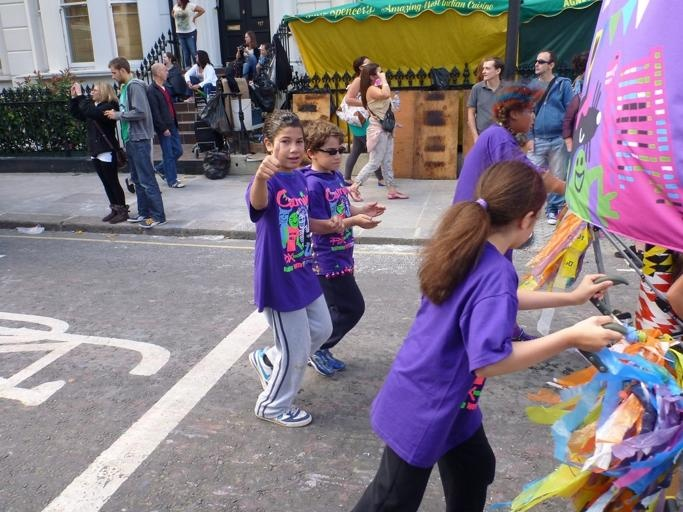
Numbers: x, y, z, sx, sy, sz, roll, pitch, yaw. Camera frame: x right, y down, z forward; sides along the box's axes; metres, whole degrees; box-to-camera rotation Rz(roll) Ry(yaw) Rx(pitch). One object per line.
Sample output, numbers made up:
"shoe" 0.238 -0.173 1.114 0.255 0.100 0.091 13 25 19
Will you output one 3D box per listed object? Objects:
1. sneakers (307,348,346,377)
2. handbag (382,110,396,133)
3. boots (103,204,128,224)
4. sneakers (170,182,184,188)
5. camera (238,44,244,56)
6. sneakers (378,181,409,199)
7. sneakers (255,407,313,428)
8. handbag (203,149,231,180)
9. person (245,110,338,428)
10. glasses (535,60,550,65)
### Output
"sneakers" -0.126 0.876 4.555 0.305 0.134 0.176 35 36 10
"handbag" 0.787 -2.212 9.100 0.094 0.321 0.251 -2 -11 41
"boots" -3.449 -0.664 8.703 0.552 0.340 0.178 1 12 -3
"sneakers" -3.324 -1.435 11.104 0.237 0.092 0.116 0 18 10
"camera" -2.546 -5.173 13.894 0.091 0.255 0.189 5 20 9
"sneakers" 0.880 -1.116 9.707 0.561 0.215 0.165 -1 20 -5
"sneakers" -0.411 1.128 3.888 0.375 0.136 0.145 2 10 0
"handbag" -2.681 -1.950 12.038 0.530 0.632 0.659 12 4 1
"person" -0.427 0.132 3.752 0.575 2.140 0.657 3 19 28
"glasses" 2.783 -2.678 7.628 0.177 0.070 0.085 6 20 33
